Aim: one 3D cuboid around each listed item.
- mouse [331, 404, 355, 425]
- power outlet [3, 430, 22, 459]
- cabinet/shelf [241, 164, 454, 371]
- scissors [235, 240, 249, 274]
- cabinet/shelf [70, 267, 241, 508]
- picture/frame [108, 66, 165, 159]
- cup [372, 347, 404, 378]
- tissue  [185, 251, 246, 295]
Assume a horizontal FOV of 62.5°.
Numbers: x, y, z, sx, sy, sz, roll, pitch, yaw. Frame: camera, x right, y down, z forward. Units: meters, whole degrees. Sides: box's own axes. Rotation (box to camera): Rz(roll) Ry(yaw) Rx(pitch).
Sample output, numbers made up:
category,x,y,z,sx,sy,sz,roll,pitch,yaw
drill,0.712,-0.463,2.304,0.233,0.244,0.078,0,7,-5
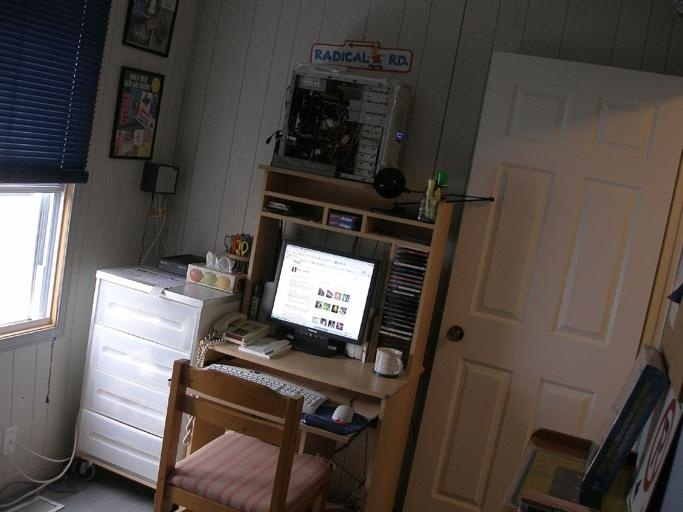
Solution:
category,x,y,z,sx,sy,sz,roll,pitch,yaw
mouse,0.005,0.741,2.634,0.097,0.058,0.082,9,10,3
power outlet,-1.727,0.962,2.935,0.013,0.155,0.089,10,10,17
cabinet/shelf,0.060,0.093,3.065,0.860,0.892,0.286,16,9,16
scissors,-0.579,-0.003,3.269,0.080,0.167,0.021,3,-2,31
cabinet/shelf,-1.068,0.663,3.328,0.681,1.145,0.664,13,11,0
picture/frame,-1.219,-0.855,3.305,0.023,0.691,0.476,18,16,18
cup,0.236,0.548,2.905,0.142,0.111,0.111,4,4,36
tissue ,-0.706,0.105,3.176,0.277,0.196,0.231,13,5,28
